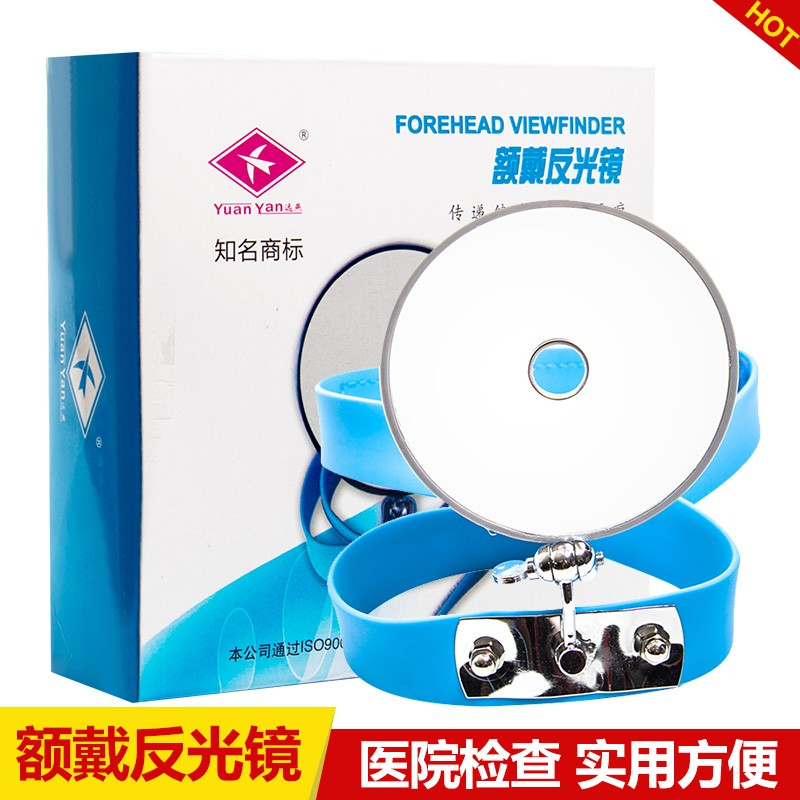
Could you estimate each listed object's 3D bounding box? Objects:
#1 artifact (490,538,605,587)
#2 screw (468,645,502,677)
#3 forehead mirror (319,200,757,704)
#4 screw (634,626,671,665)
[{"bbox_3d":[0.232,0.256,1.335,0.118,0.083,0.052,-11,-62,5],"label":"artifact"},{"bbox_3d":[0.133,0.399,1.342,0.035,0.053,0.036,7,-102,2],"label":"screw"},{"bbox_3d":[0.189,-0.012,1.619,0.645,0.894,0.671,-3,-56,-1],"label":"forehead mirror"},{"bbox_3d":[0.396,0.380,1.361,0.044,0.025,0.066,-2,-88,-1],"label":"screw"}]
